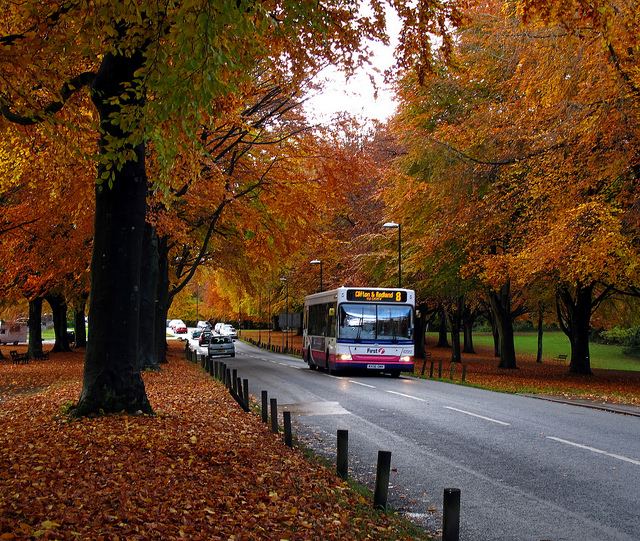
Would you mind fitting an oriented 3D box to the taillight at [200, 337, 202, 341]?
[{"bbox_3d":[-11.222,6.522,58.857,0.142,0.194,0.166,2,-4,-1],"label":"taillight"}]

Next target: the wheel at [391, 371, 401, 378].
[{"bbox_3d":[3.315,4.565,27.261,0.579,0.248,0.565,3,-6,0],"label":"wheel"}]

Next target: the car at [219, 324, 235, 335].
[{"bbox_3d":[-12.389,7.945,82.782,1.170,1.337,2.154,1,-8,-24],"label":"car"}]

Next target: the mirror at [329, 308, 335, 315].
[{"bbox_3d":[0.509,1.681,25.274,0.181,0.234,0.206,0,-1,6],"label":"mirror"}]

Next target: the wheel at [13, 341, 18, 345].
[{"bbox_3d":[-32.151,7.704,65.825,0.423,0.525,1.744,2,-11,-26],"label":"wheel"}]

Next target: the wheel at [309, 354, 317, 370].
[{"bbox_3d":[-0.332,4.805,31.969,0.246,0.868,0.754,0,3,-11],"label":"wheel"}]

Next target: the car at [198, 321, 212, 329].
[{"bbox_3d":[-17.046,8.103,93.015,1.148,1.351,3.208,0,-10,-22],"label":"car"}]

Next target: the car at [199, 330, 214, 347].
[{"bbox_3d":[-10.568,6.356,57.978,1.258,1.519,2.355,1,1,-5],"label":"car"}]

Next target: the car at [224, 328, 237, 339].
[{"bbox_3d":[-10.752,7.569,74.942,1.337,1.458,3.205,0,-11,-13],"label":"car"}]

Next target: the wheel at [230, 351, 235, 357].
[{"bbox_3d":[-6.310,6.118,45.242,0.279,0.249,0.326,4,-27,-1],"label":"wheel"}]

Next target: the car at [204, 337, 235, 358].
[{"bbox_3d":[-7.027,5.431,44.557,1.779,1.421,2.397,1,-8,-13],"label":"car"}]

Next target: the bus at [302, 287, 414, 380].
[{"bbox_3d":[1.672,3.027,29.813,5.416,4.126,10.318,3,-9,-21],"label":"bus"}]
